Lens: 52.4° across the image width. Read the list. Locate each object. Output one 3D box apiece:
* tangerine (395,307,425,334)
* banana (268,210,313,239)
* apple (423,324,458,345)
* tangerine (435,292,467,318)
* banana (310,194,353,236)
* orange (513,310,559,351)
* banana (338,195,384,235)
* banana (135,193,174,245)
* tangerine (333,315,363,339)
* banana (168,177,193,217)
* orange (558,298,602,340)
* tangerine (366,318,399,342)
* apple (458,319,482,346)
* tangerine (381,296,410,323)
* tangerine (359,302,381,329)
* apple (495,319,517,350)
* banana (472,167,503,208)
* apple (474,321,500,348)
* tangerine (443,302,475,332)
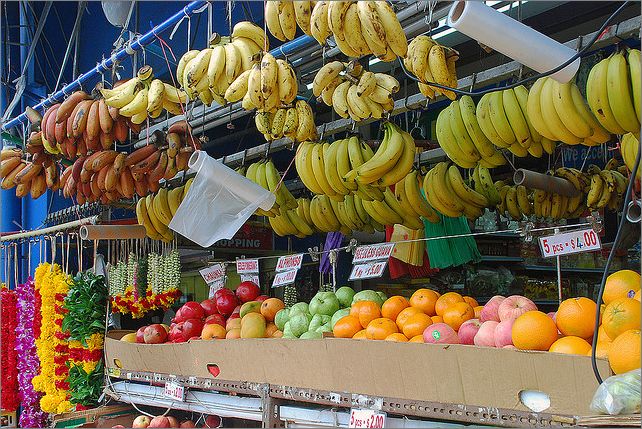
[{"bbox_3d":[0.542,0.646,3.936,0.127,0.133,0.121,-35,-47,12],"label":"tangerine"},{"bbox_3d":[-0.215,0.095,5.193,0.367,0.141,0.199,27,1,12],"label":"banana"},{"bbox_3d":[0.680,0.695,3.688,0.198,0.113,0.174,-7,5,9],"label":"apple"},{"bbox_3d":[0.785,0.539,3.942,0.128,0.152,0.141,-5,-4,1],"label":"tangerine"},{"bbox_3d":[0.064,0.036,5.035,0.213,0.325,0.107,11,44,39],"label":"banana"},{"bbox_3d":[1.160,0.669,3.553,0.233,0.282,0.253,-2,-9,-4],"label":"orange"},{"bbox_3d":[0.276,0.018,4.977,0.217,0.372,0.107,-29,-14,7],"label":"banana"},{"bbox_3d":[-1.336,0.050,5.258,0.143,0.485,0.207,-23,17,-29],"label":"banana"},{"bbox_3d":[0.163,0.690,3.972,0.178,0.110,0.090,-7,5,4],"label":"tangerine"},{"bbox_3d":[-0.984,-0.114,4.584,0.066,0.324,0.112,25,-13,17],"label":"banana"},{"bbox_3d":[1.367,0.546,3.467,0.183,0.258,0.200,2,5,27],"label":"orange"},{"bbox_3d":[0.361,0.685,3.840,0.123,0.130,0.123,26,-42,-35],"label":"tangerine"},{"bbox_3d":[0.841,0.673,3.713,0.108,0.133,0.119,0,9,10],"label":"apple"},{"bbox_3d":[0.468,0.578,4.065,0.154,0.135,0.160,-13,31,25],"label":"tangerine"},{"bbox_3d":[0.276,0.635,4.019,0.126,0.181,0.140,5,-20,-17],"label":"tangerine"},{"bbox_3d":[1.000,0.658,3.575,0.119,0.163,0.125,-5,-19,38],"label":"apple"},{"bbox_3d":[1.229,-0.212,4.899,0.109,0.341,0.153,-23,-7,-23],"label":"banana"},{"bbox_3d":[0.922,0.668,3.649,0.138,0.138,0.125,1,-1,36],"label":"apple"},{"bbox_3d":[0.801,0.585,3.848,0.144,0.169,0.148,-11,4,-35],"label":"tangerine"}]
